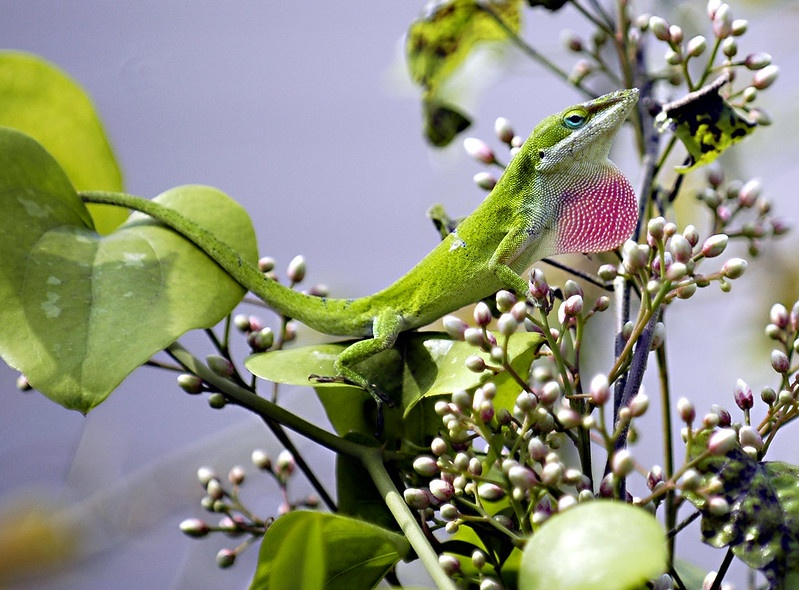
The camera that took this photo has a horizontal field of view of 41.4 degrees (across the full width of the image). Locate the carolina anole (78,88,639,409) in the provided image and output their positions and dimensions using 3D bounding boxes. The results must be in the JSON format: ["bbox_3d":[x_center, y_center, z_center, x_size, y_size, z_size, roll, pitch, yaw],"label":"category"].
[{"bbox_3d":[0.042,-0.074,1.769,1.013,0.513,0.368,-1,0,-5],"label":"carolina anole"}]
